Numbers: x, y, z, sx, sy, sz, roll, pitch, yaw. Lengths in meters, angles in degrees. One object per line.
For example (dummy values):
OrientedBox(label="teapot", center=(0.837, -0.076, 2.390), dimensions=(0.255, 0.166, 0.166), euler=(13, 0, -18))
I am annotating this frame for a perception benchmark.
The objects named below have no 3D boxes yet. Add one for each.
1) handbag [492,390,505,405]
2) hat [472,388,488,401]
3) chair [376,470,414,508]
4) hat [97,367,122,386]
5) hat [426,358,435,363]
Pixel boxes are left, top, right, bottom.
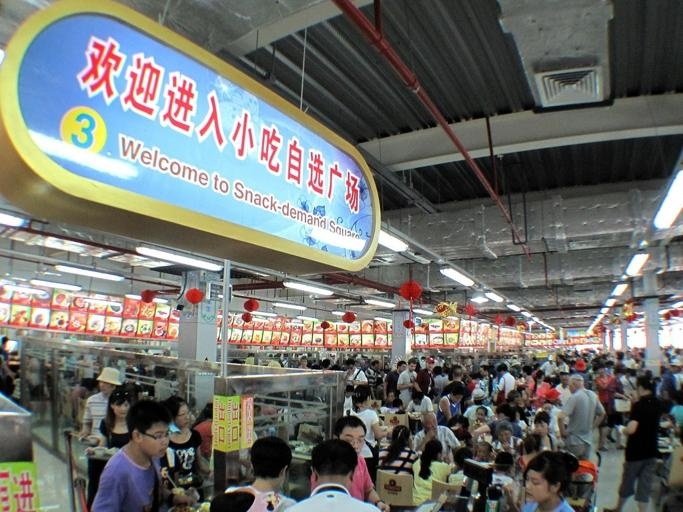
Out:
OrientedBox(label="handbag", center=(3.364, 3.003, 10.567), dimensions=(0.265, 0.350, 0.361), euler=(-6, -20, 24))
OrientedBox(label="hat", center=(2.331, 2.352, 8.404), dimensions=(0.349, 0.131, 0.398), euler=(-13, -17, 15))
OrientedBox(label="chair", center=(0.497, 2.183, 4.650), dimensions=(0.345, 0.298, 0.275), euler=(-5, -4, 7))
OrientedBox(label="hat", center=(-2.640, 1.378, 5.731), dimensions=(0.263, 0.137, 0.243), euler=(23, -5, -13))
OrientedBox(label="hat", center=(1.949, 2.234, 10.825), dimensions=(0.142, 0.170, 0.190), euler=(2, -20, 8))
